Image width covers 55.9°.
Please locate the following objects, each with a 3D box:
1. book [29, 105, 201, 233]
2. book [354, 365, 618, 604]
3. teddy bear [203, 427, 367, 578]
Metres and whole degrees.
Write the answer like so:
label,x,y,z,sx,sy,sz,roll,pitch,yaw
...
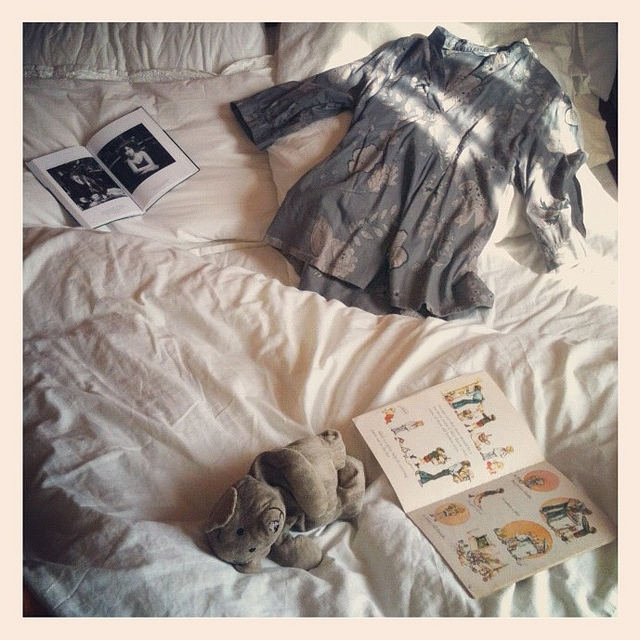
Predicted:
label,x,y,z,sx,sy,sz,roll,pitch,yaw
book,-0.629,-0.470,1.896,0.497,0.429,0.116,-34,-17,-25
book,0.265,0.258,1.004,0.274,0.264,0.330,-30,23,-3
teddy bear,-0.052,0.261,0.969,0.238,0.143,0.177,-7,10,-19
